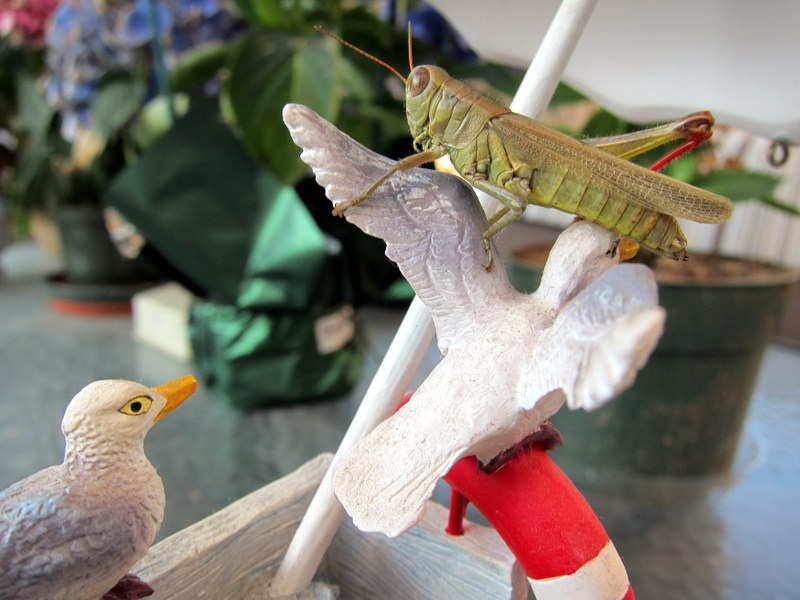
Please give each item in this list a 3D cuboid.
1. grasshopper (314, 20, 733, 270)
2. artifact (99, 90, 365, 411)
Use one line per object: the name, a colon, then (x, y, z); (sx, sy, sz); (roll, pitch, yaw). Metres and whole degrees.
grasshopper: (0.136, -0.137, 1.005); (0.379, 0.196, 0.147); (13, 20, 1)
artifact: (-0.272, -0.050, 1.655); (0.300, 0.611, 0.307); (18, 27, 27)
